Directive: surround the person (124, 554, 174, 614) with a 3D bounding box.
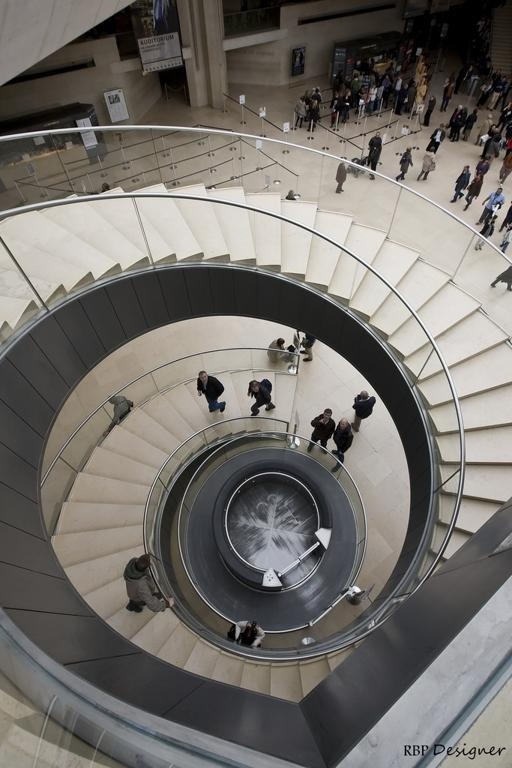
[{"bbox_3d":[-1.378,2.576,6.271,0.376,0.947,0.531,-22,75,-17],"label":"person"}]

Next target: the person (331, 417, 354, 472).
[{"bbox_3d":[1.556,1.047,8.890,0.328,1.631,0.532,5,54,10],"label":"person"}]

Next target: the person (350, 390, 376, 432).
[{"bbox_3d":[1.966,0.495,9.106,0.325,1.623,0.504,7,54,12],"label":"person"}]

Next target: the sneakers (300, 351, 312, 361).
[{"bbox_3d":[1.103,-0.571,10.775,0.204,0.278,0.163,-18,74,1],"label":"sneakers"}]

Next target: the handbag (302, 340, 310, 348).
[{"bbox_3d":[1.082,-0.835,10.524,0.090,0.148,0.161,2,85,9],"label":"handbag"}]

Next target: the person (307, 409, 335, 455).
[{"bbox_3d":[1.216,0.920,9.140,0.473,1.429,0.392,16,57,18],"label":"person"}]

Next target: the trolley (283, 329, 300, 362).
[{"bbox_3d":[0.762,-0.781,10.473,0.217,0.334,0.883,19,53,-7],"label":"trolley"}]

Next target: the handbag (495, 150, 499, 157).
[{"bbox_3d":[6.893,-6.617,14.134,0.041,0.179,0.129,31,85,15],"label":"handbag"}]
